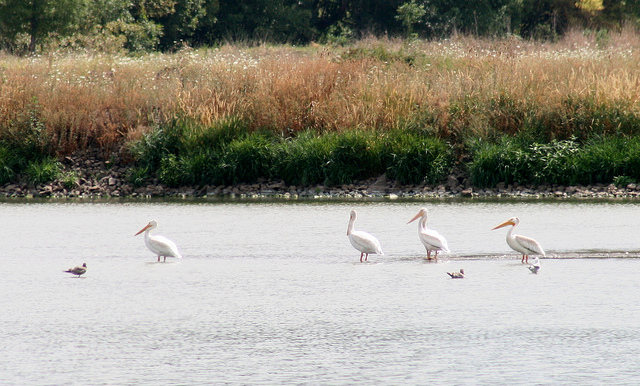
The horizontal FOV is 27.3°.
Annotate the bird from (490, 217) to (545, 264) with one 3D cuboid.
[{"bbox_3d":[6.051,1.419,39.710,0.839,1.268,1.291,-6,10,-31],"label":"bird"}]

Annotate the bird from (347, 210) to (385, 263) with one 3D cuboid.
[{"bbox_3d":[1.419,1.305,39.880,1.229,1.445,0.699,5,7,26],"label":"bird"}]

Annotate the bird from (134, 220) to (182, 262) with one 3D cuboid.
[{"bbox_3d":[-4.824,1.469,39.827,1.240,1.164,0.710,4,10,31],"label":"bird"}]

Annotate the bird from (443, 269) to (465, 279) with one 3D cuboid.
[{"bbox_3d":[4.048,2.375,38.643,0.411,0.180,0.267,9,-8,12],"label":"bird"}]

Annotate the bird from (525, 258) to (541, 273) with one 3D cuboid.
[{"bbox_3d":[6.313,2.169,38.890,0.201,0.397,0.655,-9,-22,40],"label":"bird"}]

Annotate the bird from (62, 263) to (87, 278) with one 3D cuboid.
[{"bbox_3d":[-7.249,2.260,38.863,0.708,0.375,0.244,-2,-3,6],"label":"bird"}]
